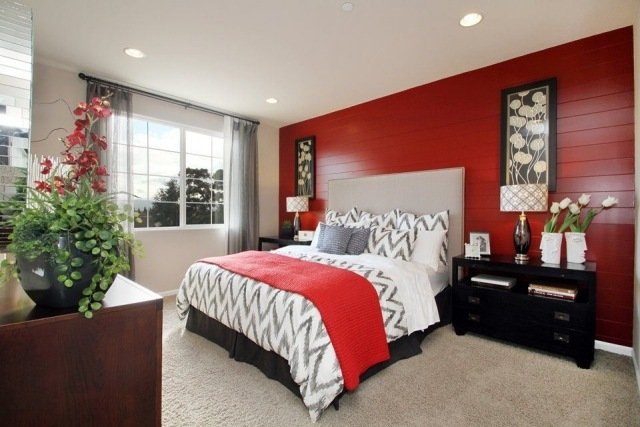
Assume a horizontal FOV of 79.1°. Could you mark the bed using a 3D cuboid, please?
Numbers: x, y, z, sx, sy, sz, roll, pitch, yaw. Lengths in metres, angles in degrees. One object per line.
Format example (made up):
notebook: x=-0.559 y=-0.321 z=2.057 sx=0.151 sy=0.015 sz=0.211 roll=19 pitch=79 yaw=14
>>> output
bed: x=0.226 y=0.714 z=4.275 sx=2.530 sy=1.733 sz=2.567 roll=1 pitch=3 yaw=41

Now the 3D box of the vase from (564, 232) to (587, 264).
vase: x=2.608 y=0.347 z=3.940 sx=0.190 sy=0.319 sz=0.192 roll=0 pitch=3 yaw=24

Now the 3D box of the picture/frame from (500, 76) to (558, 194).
picture/frame: x=2.304 y=-0.874 z=4.266 sx=0.619 sy=1.176 sz=0.329 roll=6 pitch=15 yaw=23

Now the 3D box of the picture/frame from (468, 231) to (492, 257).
picture/frame: x=1.821 y=0.355 z=4.392 sx=0.021 sy=0.261 sz=0.192 roll=26 pitch=-42 yaw=-28

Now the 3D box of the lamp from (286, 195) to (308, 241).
lamp: x=-0.382 y=0.074 z=6.380 sx=0.503 sy=0.682 sz=0.503 roll=0 pitch=2 yaw=-27

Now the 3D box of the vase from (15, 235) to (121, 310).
vase: x=-1.442 y=0.309 z=2.240 sx=0.379 sy=0.355 sz=0.466 roll=0 pitch=-2 yaw=42

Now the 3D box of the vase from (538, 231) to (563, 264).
vase: x=2.380 y=0.350 z=3.981 sx=0.215 sy=0.332 sz=0.196 roll=0 pitch=6 yaw=34
